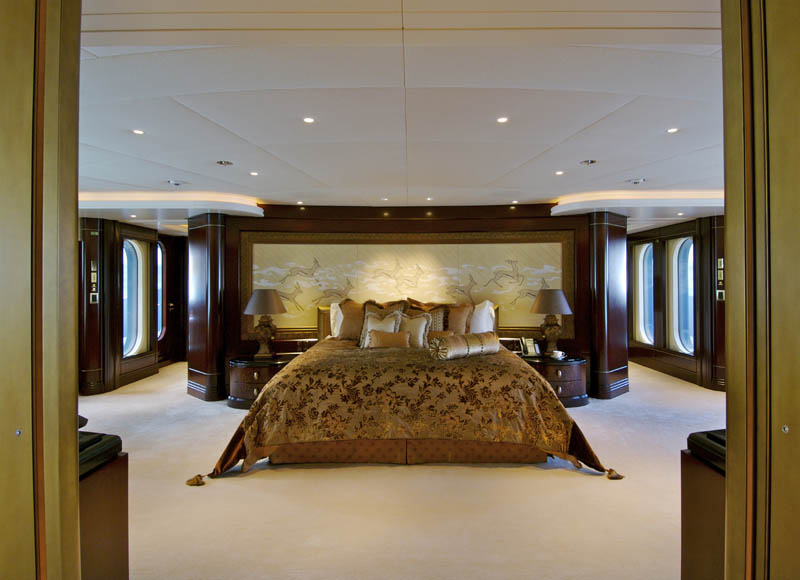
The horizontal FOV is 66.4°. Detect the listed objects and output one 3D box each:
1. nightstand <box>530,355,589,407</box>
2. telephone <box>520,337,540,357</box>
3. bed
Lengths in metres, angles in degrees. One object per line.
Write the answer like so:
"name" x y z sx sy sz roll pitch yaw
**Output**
"nightstand" 1.765 0.975 6.763 0.555 0.419 0.527 -1 -2 -2
"telephone" 1.500 0.653 6.984 0.161 0.096 0.220 3 12 8
"bed" 0.067 0.761 6.171 3.113 1.321 3.705 -1 0 -2
